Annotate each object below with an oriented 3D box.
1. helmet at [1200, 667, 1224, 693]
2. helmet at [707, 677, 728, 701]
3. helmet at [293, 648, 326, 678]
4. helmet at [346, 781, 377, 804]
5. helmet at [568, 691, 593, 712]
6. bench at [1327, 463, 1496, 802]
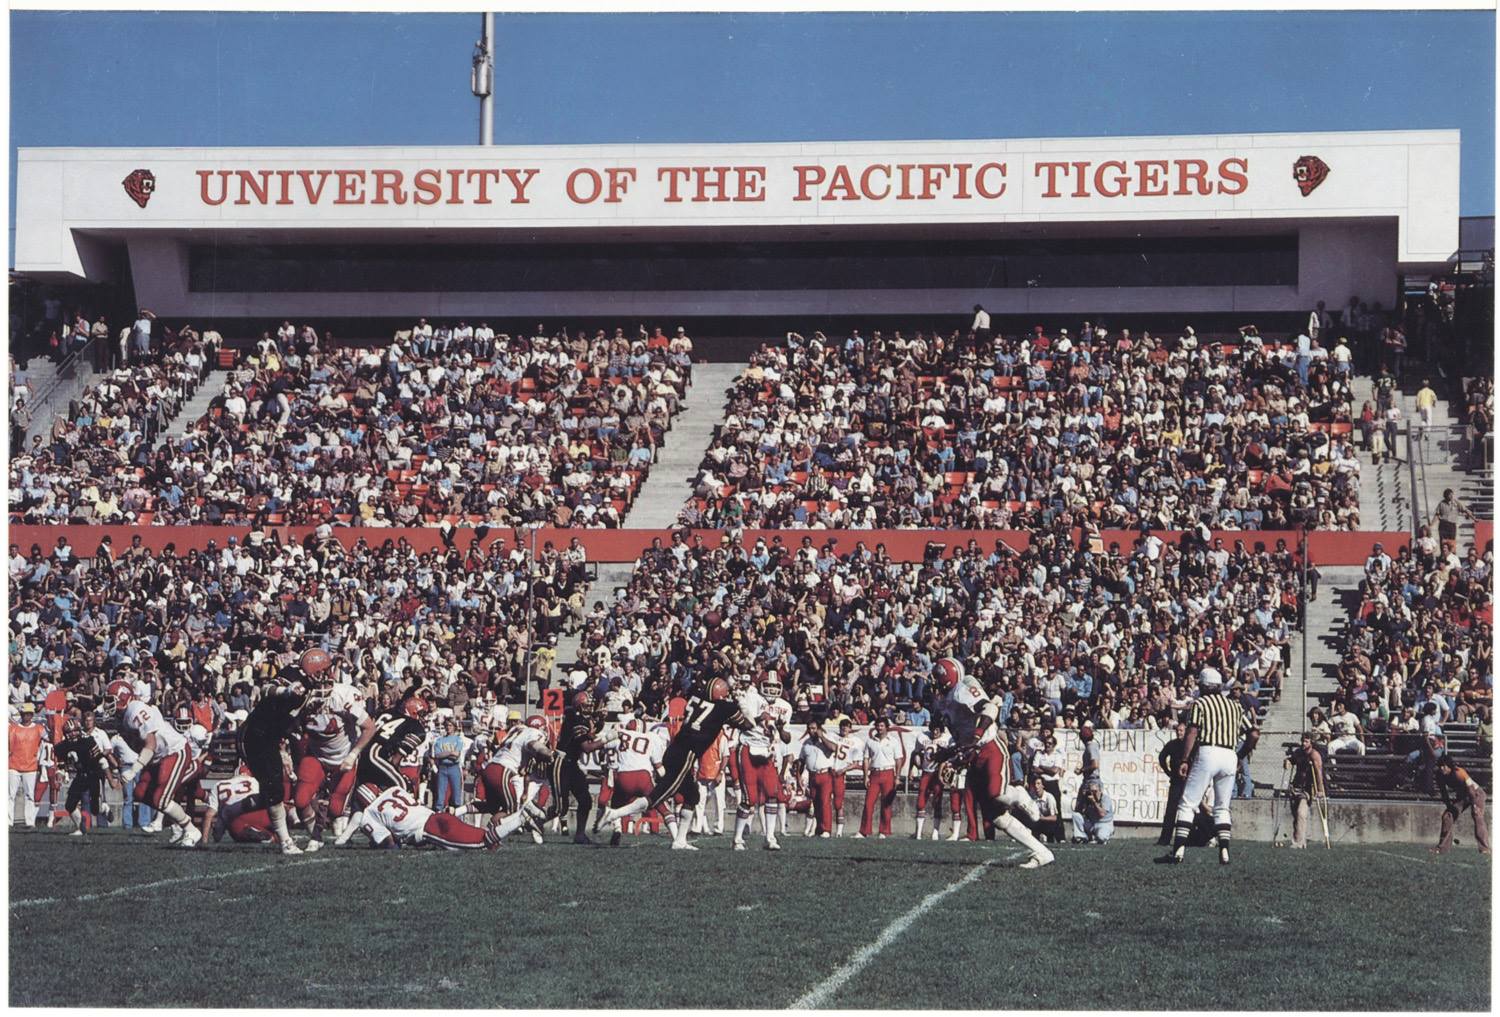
[{"bbox_3d":[6.047,2.354,47.141,0.243,0.157,0.341,-7,11,2],"label":"helmet"},{"bbox_3d":[-0.422,2.531,47.765,0.275,0.293,0.242,1,-3,0],"label":"helmet"},{"bbox_3d":[-5.733,2.129,47.179,0.394,0.308,0.376,-11,-42,-28],"label":"helmet"},{"bbox_3d":[-5.072,3.868,47.226,0.303,0.285,0.248,-9,-4,-3],"label":"helmet"},{"bbox_3d":[-2.286,2.711,48.479,0.267,0.263,0.213,15,-5,-40],"label":"helmet"},{"bbox_3d":[9.584,2.138,52.257,2.305,4.400,0.653,0,-42,13],"label":"bench"}]
